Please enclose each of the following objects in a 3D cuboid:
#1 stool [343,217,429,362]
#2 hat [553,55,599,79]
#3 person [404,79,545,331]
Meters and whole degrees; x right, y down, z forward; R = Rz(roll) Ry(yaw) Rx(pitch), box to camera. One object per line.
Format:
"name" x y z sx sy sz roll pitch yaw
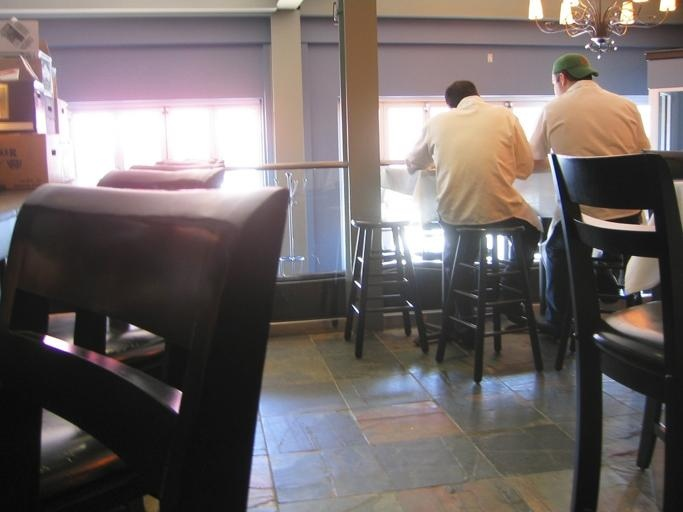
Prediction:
"stool" 0.288 0.166 3.557 0.552 0.834 0.578 0 11 24
"hat" 1.426 -1.152 3.350 0.167 0.133 0.241 -18 24 -36
"person" 0.769 -0.489 3.197 0.762 1.107 0.389 1 8 22
